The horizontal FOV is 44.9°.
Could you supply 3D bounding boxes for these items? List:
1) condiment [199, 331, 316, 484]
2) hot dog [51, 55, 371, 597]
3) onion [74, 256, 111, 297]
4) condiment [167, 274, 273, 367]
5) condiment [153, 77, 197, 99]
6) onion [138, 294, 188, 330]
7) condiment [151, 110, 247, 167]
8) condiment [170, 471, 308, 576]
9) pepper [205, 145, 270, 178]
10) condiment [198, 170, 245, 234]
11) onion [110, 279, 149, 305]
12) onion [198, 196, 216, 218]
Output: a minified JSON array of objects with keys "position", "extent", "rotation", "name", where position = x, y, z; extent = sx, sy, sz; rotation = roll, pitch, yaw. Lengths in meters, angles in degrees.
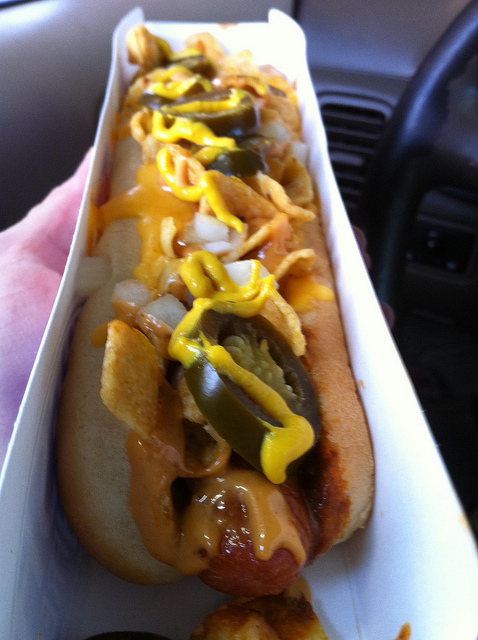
[{"position":[-0.020,0.083,0.627],"extent":[0.188,0.052,0.079],"rotation":[38,24,7],"name":"condiment"},{"position":[-0.045,-0.108,0.830],"extent":[0.263,0.238,0.869],"rotation":[1,45,-4],"name":"hot dog"},{"position":[-0.196,-0.063,0.772],"extent":[0.032,0.020,0.061],"rotation":[24,38,-12],"name":"onion"},{"position":[-0.021,0.001,0.672],"extent":[0.054,0.043,0.153],"rotation":[23,40,19],"name":"condiment"},{"position":[-0.128,-0.463,1.136],"extent":[0.057,0.025,0.059],"rotation":[-36,52,-6],"name":"condiment"},{"position":[-0.085,-0.013,0.683],"extent":[0.042,0.012,0.043],"rotation":[39,42,14],"name":"onion"},{"position":[-0.070,-0.303,0.935],"extent":[0.153,0.031,0.092],"rotation":[34,37,17],"name":"condiment"},{"position":[-0.004,0.217,0.619],"extent":[0.138,0.094,0.095],"rotation":[-3,61,-1],"name":"condiment"},{"position":[0.001,-0.250,0.902],"extent":[0.058,0.020,0.081],"rotation":[11,34,5],"name":"pepper"},{"position":[-0.035,-0.173,0.864],"extent":[0.050,0.028,0.104],"rotation":[-19,82,-34],"name":"condiment"},{"position":[-0.132,-0.038,0.708],"extent":[0.034,0.012,0.036],"rotation":[43,41,9],"name":"onion"},{"position":[-0.046,-0.169,0.848],"extent":[0.010,0.027,0.026],"rotation":[-11,16,-23],"name":"onion"}]
